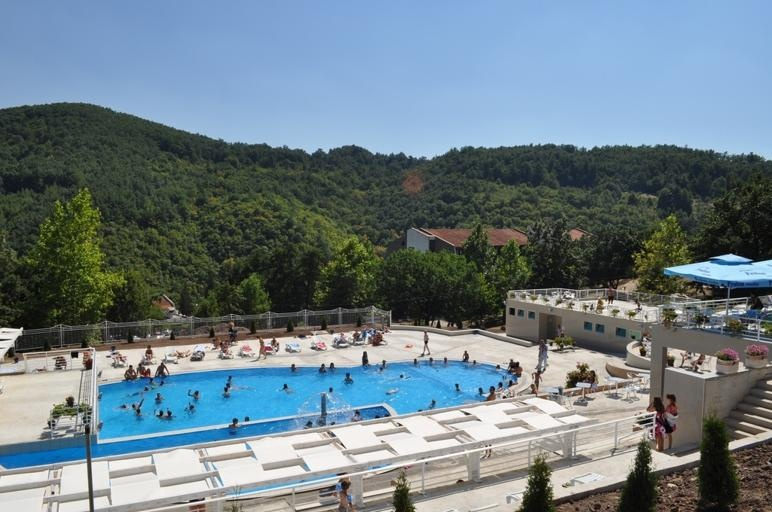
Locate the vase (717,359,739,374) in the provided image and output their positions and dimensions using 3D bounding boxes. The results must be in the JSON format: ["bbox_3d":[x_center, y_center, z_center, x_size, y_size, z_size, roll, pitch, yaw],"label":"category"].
[{"bbox_3d":[14.840,4.861,26.128,0.650,0.419,0.641,-1,-2,-33],"label":"vase"}]

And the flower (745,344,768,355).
[{"bbox_3d":[16.475,4.187,26.868,0.639,0.442,0.676,-1,1,13],"label":"flower"}]

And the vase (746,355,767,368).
[{"bbox_3d":[16.382,4.729,26.686,0.598,0.387,0.603,0,-3,-33],"label":"vase"}]

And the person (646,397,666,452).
[{"bbox_3d":[11.213,7.013,24.714,0.574,2.170,0.984,5,12,26],"label":"person"}]

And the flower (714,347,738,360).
[{"bbox_3d":[14.858,4.325,26.241,0.551,0.409,0.574,0,4,7],"label":"flower"}]

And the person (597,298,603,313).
[{"bbox_3d":[17.607,4.137,49.475,0.600,1.068,0.711,4,11,20],"label":"person"}]
